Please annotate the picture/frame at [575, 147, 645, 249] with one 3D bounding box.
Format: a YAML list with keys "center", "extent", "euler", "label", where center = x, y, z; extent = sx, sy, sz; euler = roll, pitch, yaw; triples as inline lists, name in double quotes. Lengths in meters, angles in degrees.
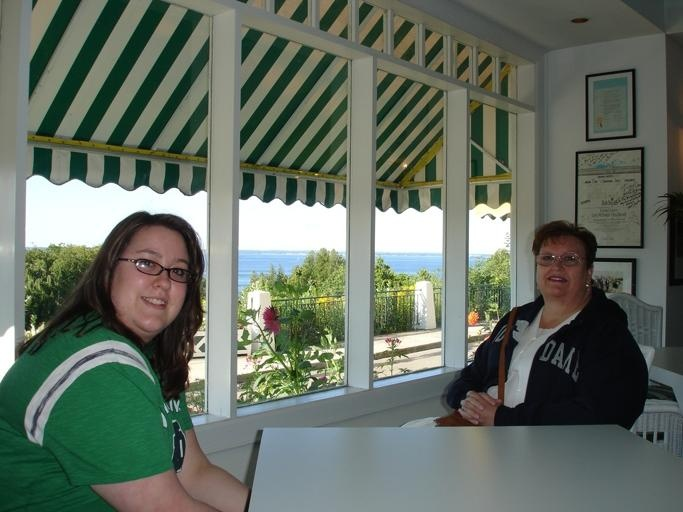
- center: [2.462, -0.522, 4.775]
  extent: [0.561, 1.042, 0.028]
  euler: [4, 38, 32]
  label: "picture/frame"

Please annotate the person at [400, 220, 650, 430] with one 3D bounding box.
- center: [0.923, 0.307, 2.377]
  extent: [0.843, 0.960, 0.674]
  euler: [3, 2, 35]
  label: "person"
